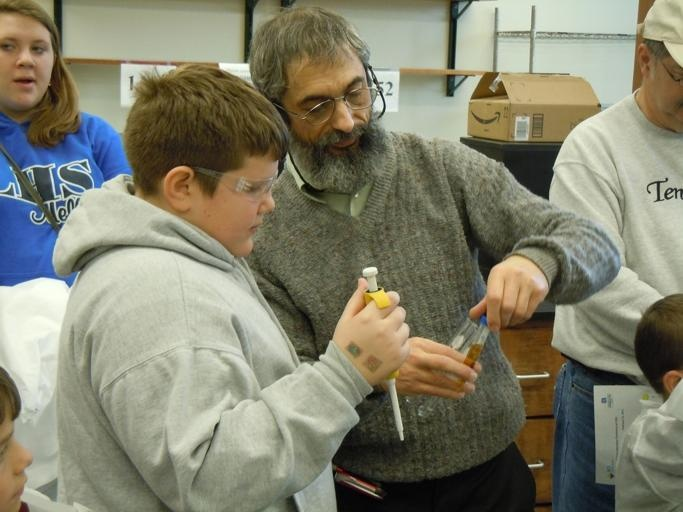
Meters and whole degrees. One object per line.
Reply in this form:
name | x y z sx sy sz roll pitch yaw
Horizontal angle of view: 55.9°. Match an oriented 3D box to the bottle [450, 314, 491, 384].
bottle | 0.312 0.188 1.554 0.090 0.186 0.210 4 19 13
